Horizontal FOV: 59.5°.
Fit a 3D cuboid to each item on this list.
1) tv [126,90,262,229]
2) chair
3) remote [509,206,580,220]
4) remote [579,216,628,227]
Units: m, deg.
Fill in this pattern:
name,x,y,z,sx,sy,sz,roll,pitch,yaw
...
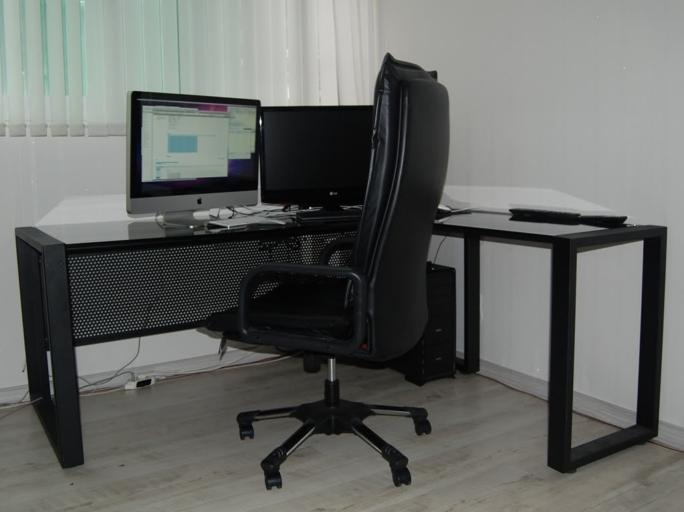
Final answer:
name,x,y,z,sx,sy,sz,roll,pitch,yaw
tv,-0.711,-0.458,2.843,0.638,0.583,0.264,-7,11,-43
chair,-0.059,0.072,2.534,1.030,1.602,1.040,-8,13,-37
remote,0.929,-0.218,2.767,0.072,0.053,0.316,16,-3,-38
remote,1.102,-0.150,2.536,0.173,0.049,0.101,6,16,21
